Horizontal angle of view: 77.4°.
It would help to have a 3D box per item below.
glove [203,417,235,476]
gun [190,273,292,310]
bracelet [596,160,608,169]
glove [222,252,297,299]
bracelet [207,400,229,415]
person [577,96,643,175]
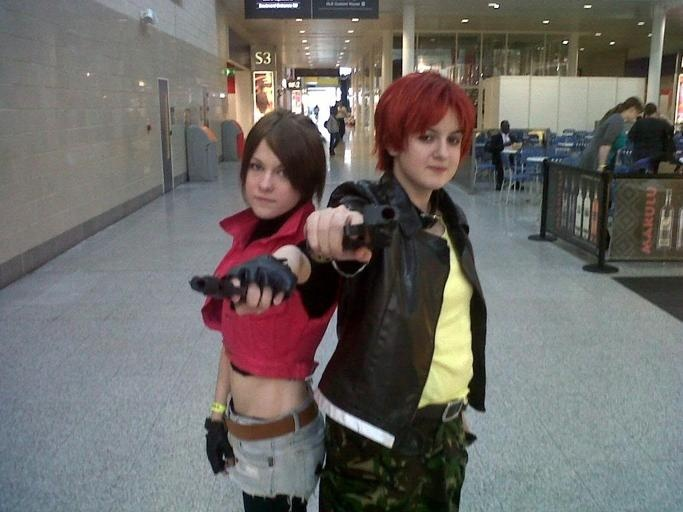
[{"bbox_3d":[-0.361,0.536,1.213,0.035,0.151,0.114,-9,-9,13],"label":"glove"},{"bbox_3d":[-0.091,0.036,0.415,0.103,0.035,0.021,5,-15,-40],"label":"gun"},{"bbox_3d":[3.990,-1.402,6.501,0.045,0.065,0.204,24,18,8],"label":"bracelet"},{"bbox_3d":[-0.084,0.014,0.455,0.054,0.026,0.050,4,13,0],"label":"glove"},{"bbox_3d":[-0.361,0.457,1.259,0.046,0.039,0.051,1,-1,2],"label":"bracelet"},{"bbox_3d":[4.152,-1.886,6.592,0.732,1.049,0.625,-7,16,-26],"label":"person"}]
